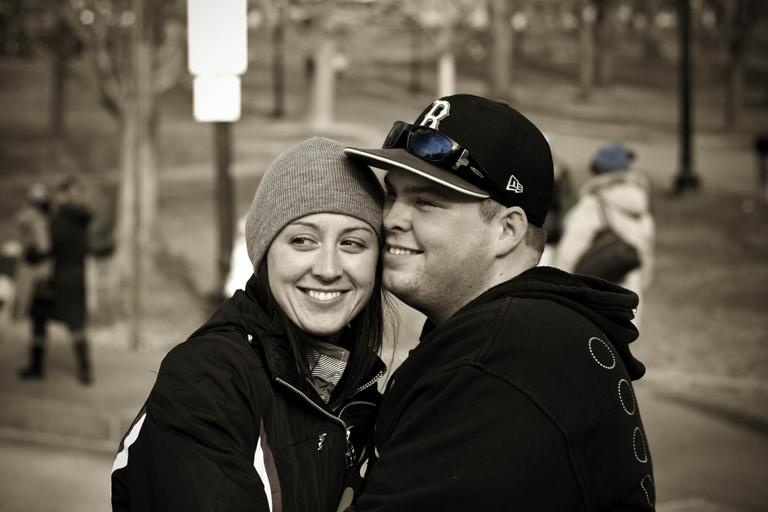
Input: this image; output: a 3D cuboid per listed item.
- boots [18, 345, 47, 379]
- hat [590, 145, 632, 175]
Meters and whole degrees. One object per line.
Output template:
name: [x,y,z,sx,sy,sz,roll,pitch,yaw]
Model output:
boots: [-3.395,1.033,9.953,0.250,0.283,0.249,7,1,-21]
hat: [2.139,-0.892,9.516,0.233,0.111,0.298,-9,-16,-33]
